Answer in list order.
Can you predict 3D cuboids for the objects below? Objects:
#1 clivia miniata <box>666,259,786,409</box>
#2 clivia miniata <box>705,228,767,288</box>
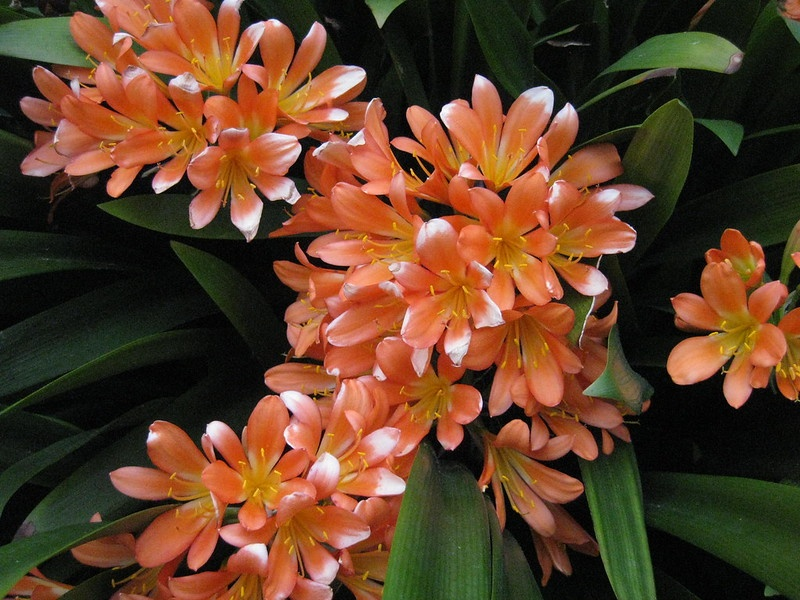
[{"bbox_3d":[0.421,0.044,0.856,0.070,0.135,0.147,40,52,-24],"label":"clivia miniata"},{"bbox_3d":[0.418,-0.054,0.867,0.065,0.052,0.077,-8,66,42],"label":"clivia miniata"}]
